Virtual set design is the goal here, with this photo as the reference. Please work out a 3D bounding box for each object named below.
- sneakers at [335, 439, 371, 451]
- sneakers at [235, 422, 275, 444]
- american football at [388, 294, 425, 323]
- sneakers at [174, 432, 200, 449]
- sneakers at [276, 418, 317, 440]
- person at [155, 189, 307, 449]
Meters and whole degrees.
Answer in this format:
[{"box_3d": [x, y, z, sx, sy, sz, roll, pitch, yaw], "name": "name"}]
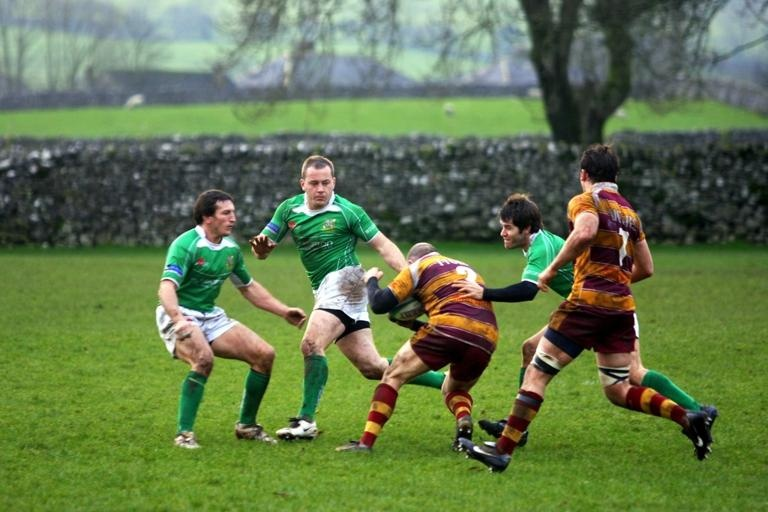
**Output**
[{"box_3d": [-0.356, 2.175, 10.939, 0.264, 0.090, 0.155, 3, 0, -5], "name": "sneakers"}, {"box_3d": [-1.533, 2.087, 11.196, 0.520, 0.191, 0.191, 2, 0, 0], "name": "sneakers"}, {"box_3d": [0.269, 0.630, 11.238, 0.367, 0.213, 0.234, -25, 6, 3], "name": "american football"}, {"box_3d": [-2.255, 2.106, 10.922, 0.168, 0.099, 0.255, 1, -2, -38], "name": "sneakers"}, {"box_3d": [-1.025, 2.044, 11.256, 0.447, 0.203, 0.224, 1, -5, -1], "name": "sneakers"}, {"box_3d": [-1.937, 0.690, 11.239, 1.394, 2.883, 1.001, -3, 9, -16], "name": "person"}]
